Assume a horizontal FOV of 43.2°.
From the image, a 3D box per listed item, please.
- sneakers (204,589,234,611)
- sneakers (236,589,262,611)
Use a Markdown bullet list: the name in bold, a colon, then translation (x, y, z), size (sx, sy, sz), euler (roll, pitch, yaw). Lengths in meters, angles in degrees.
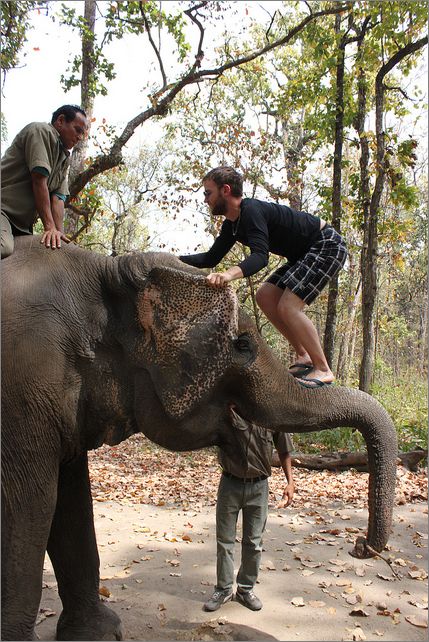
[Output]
- **sneakers**: translation (0.021, 1.569, 3.028), size (0.073, 0.074, 0.204), euler (1, -5, 30)
- **sneakers**: translation (0.194, 1.577, 3.075), size (0.067, 0.066, 0.179), euler (3, -7, -29)
